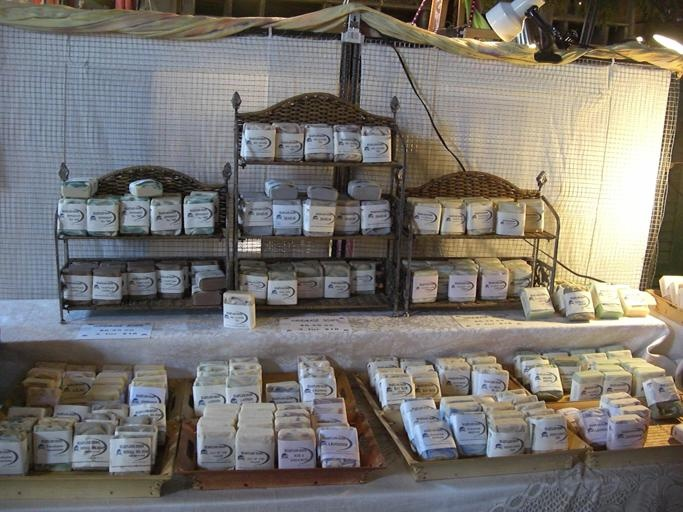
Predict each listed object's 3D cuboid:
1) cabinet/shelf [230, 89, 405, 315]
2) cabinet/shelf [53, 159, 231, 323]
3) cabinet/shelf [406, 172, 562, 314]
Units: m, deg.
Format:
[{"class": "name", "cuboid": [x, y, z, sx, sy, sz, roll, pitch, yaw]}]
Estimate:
[{"class": "cabinet/shelf", "cuboid": [-0.168, -0.384, 4.386, 1.343, 1.655, 0.840, -4, 17, 0]}, {"class": "cabinet/shelf", "cuboid": [-1.431, -0.105, 4.122, 2.029, 1.080, 0.510, -1, 8, -7]}, {"class": "cabinet/shelf", "cuboid": [1.135, -0.140, 4.604, 1.417, 1.075, 0.777, -3, 16, -2]}]
